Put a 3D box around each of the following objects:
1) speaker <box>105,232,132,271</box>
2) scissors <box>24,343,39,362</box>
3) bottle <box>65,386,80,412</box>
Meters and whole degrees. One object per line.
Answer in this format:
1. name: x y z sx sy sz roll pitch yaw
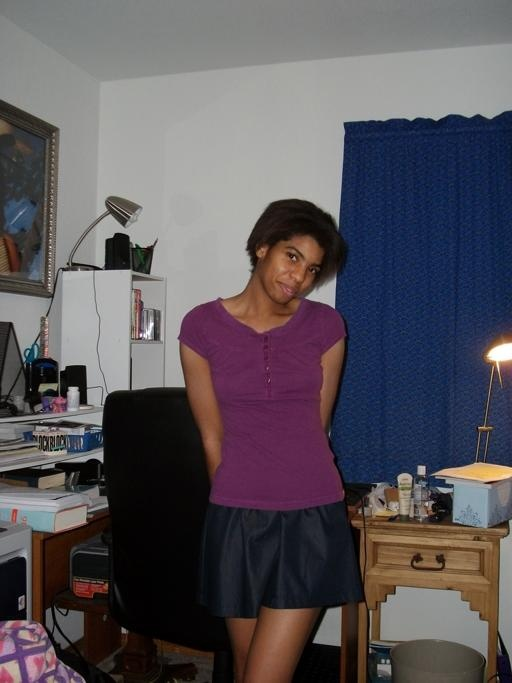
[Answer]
1. speaker: -0.628 -0.399 2.797 0.129 0.167 0.133 1 -1 -4
2. scissors: -0.952 0.050 2.633 0.056 0.087 0.019 11 -4 -15
3. bottle: -0.750 0.235 2.531 0.052 0.091 0.174 1 -1 -16
